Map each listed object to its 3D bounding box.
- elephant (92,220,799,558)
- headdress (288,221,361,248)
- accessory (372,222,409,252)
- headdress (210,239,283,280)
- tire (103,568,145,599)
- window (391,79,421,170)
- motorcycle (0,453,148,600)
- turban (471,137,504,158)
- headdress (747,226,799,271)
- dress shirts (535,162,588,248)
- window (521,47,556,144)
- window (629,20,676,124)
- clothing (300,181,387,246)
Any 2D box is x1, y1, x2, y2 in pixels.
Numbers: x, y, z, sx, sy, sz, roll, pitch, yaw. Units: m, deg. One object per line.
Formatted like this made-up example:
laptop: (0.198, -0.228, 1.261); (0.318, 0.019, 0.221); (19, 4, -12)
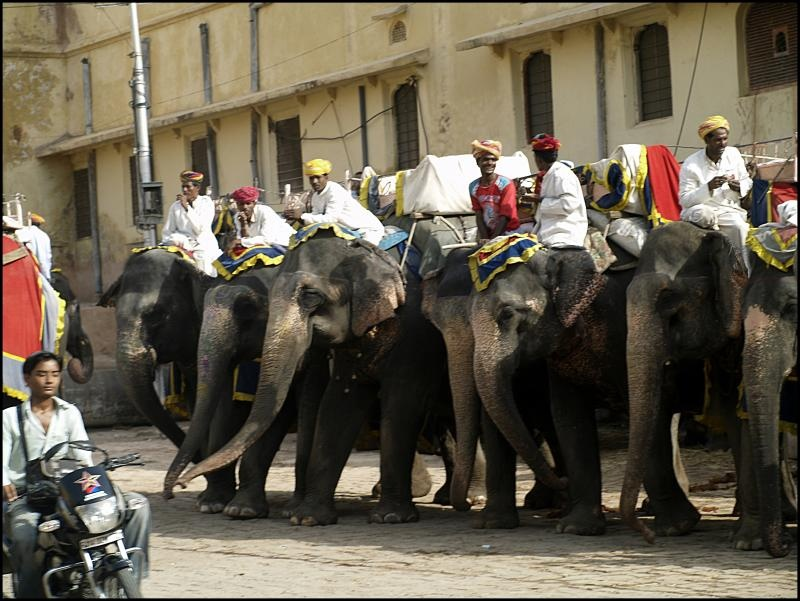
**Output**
elephant: (0.596, 0.463, 9.948); (5.219, 1.891, 1.933); (1, -11, 5)
headdress: (-0.573, -0.519, 10.305); (0.365, 0.068, 0.317); (2, -7, -35)
accessory: (-0.077, -0.504, 10.775); (0.286, 0.077, 0.195); (-21, 28, -21)
headdress: (-1.184, -0.322, 10.668); (0.508, 0.136, 0.321); (-21, 4, -25)
tire: (-1.579, 1.616, 7.752); (0.227, 0.160, 0.062); (-1, 10, 32)
window: (0.112, -2.369, 18.351); (0.148, 1.124, 0.534); (-3, 0, -34)
motorcycle: (-1.840, 1.296, 7.958); (0.903, 0.866, 0.470); (0, 3, 16)
turban: (0.675, -1.206, 10.495); (0.319, 0.137, 0.292); (1, 3, 1)
headdress: (2.405, -0.341, 8.828); (0.367, 0.327, 0.083); (18, -35, 27)
dress shirts: (1.136, -0.832, 9.944); (0.279, 0.337, 0.365); (7, 12, -14)
window: (1.793, -2.654, 17.086); (0.149, 1.144, 0.531); (-1, -2, -32)
window: (2.960, -2.694, 15.967); (0.157, 1.128, 0.510); (-3, 3, -28)
clothing: (-0.467, -0.720, 10.980); (0.827, 0.335, 0.518); (13, -5, -15)
